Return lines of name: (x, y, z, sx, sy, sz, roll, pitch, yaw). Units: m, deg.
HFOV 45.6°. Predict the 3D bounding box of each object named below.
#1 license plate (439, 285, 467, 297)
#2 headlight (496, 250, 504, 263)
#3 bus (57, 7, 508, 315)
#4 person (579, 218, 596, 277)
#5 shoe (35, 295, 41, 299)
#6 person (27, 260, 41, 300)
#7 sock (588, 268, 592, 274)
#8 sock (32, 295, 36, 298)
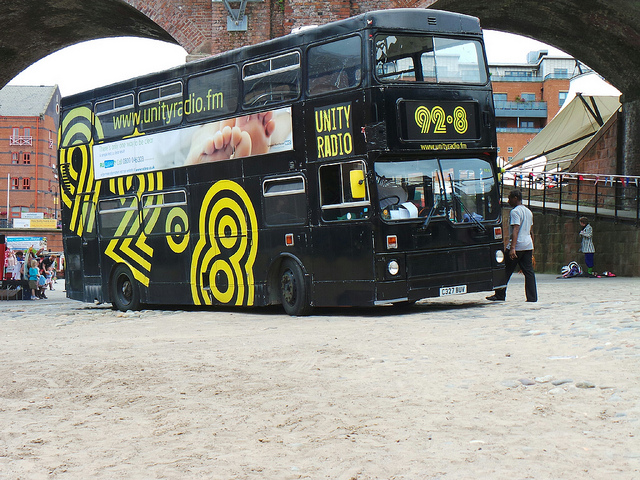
license plate: (2.412, 0.941, 14.052, 0.660, 0.167, 0.186, -4, 4, -34)
headlight: (3.469, 0.331, 14.719, 0.179, 0.201, 0.185, -2, 3, -43)
bus: (-1.680, -1.329, 17.128, 11.328, 6.098, 2.884, 1, 5, 38)
person: (8.668, 0.218, 24.687, 0.477, 1.875, 1.227, 0, 4, 20)
shoe: (-11.645, 2.354, 31.407, 0.383, 0.179, 0.123, 6, 4, 36)
person: (-11.577, 1.615, 30.788, 0.341, 1.662, 1.182, -2, 4, -15)
sock: (8.641, 0.992, 24.408, 0.113, 0.175, 0.282, 0, 4, 20)
sock: (-11.764, 2.322, 31.297, 0.137, 0.135, 0.089, 3, 6, 41)
